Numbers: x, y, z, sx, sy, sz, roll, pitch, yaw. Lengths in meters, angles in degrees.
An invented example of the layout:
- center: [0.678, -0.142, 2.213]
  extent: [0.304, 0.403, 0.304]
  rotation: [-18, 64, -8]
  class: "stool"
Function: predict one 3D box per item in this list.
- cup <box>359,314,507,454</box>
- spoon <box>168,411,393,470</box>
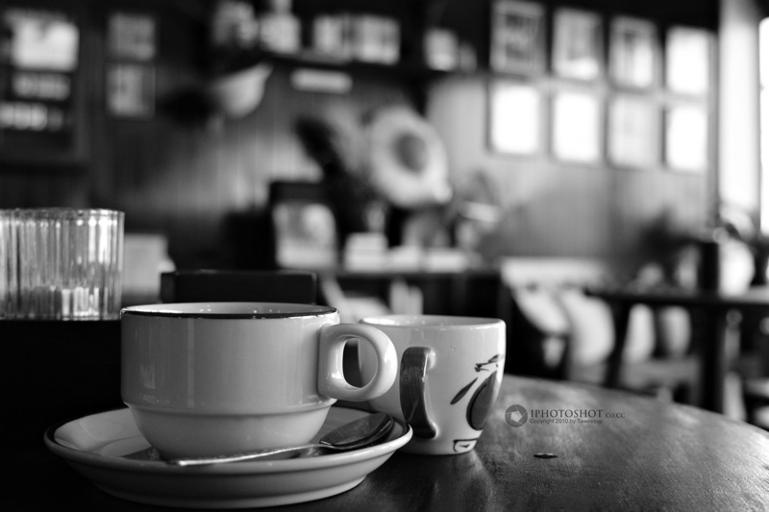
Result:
- center: [0.069, 0.160, 1.130]
  extent: [0.150, 0.134, 0.183]
  rotation: [1, 0, 14]
  class: "cup"
- center: [-0.085, 0.212, 1.025]
  extent: [0.333, 0.046, 0.081]
  rotation: [5, 18, -36]
  class: "spoon"
